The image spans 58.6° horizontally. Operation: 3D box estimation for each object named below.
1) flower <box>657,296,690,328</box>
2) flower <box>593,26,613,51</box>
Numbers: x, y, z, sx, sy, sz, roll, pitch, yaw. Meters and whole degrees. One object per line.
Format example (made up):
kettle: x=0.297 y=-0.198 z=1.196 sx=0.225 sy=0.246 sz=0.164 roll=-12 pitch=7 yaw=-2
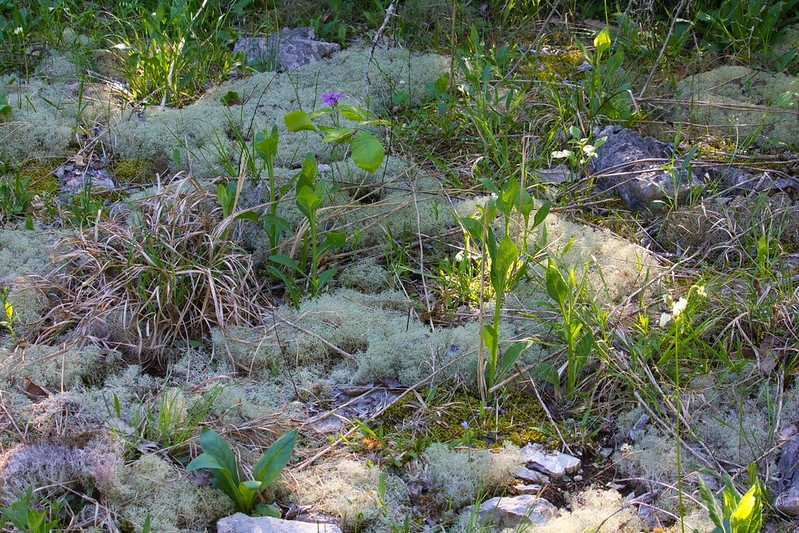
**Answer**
flower: x=1.419 y=0.235 z=3.688 sx=0.095 sy=0.061 sz=0.189 roll=-5 pitch=25 yaw=45
flower: x=1.396 y=-1.581 z=4.924 sx=0.092 sy=0.178 sz=0.133 roll=0 pitch=47 yaw=-5
